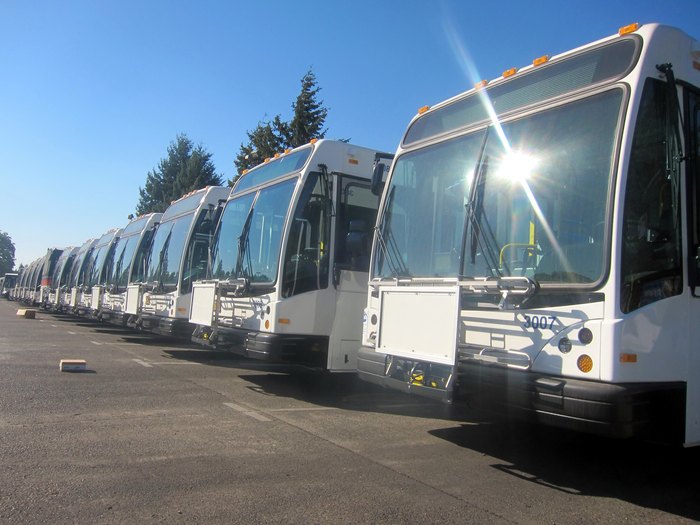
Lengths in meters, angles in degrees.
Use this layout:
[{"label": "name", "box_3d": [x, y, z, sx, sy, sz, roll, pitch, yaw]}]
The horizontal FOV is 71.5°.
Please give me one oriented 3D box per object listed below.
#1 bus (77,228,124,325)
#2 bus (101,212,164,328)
[{"label": "bus", "box_3d": [-9.177, 0.576, 18.021, 1.340, 3.832, 3.529, 8, -2, -25]}, {"label": "bus", "box_3d": [-8.177, 0.389, 18.682, 2.179, 3.389, 2.320, 1, -3, 12]}]
